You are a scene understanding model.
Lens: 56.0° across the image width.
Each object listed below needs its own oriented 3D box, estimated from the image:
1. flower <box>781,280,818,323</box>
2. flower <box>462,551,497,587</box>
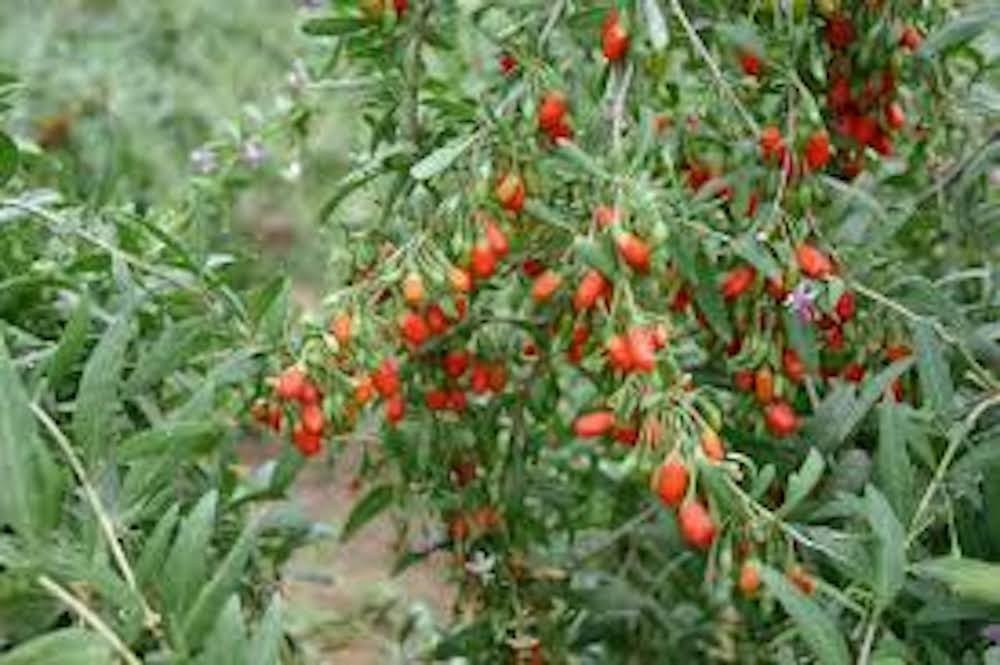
[{"bbox_3d":[0.569,-0.053,1.778,0.060,0.087,0.041,-24,44,-3],"label":"flower"},{"bbox_3d":[-0.050,0.503,2.048,0.073,0.088,0.042,-16,-2,-33],"label":"flower"}]
